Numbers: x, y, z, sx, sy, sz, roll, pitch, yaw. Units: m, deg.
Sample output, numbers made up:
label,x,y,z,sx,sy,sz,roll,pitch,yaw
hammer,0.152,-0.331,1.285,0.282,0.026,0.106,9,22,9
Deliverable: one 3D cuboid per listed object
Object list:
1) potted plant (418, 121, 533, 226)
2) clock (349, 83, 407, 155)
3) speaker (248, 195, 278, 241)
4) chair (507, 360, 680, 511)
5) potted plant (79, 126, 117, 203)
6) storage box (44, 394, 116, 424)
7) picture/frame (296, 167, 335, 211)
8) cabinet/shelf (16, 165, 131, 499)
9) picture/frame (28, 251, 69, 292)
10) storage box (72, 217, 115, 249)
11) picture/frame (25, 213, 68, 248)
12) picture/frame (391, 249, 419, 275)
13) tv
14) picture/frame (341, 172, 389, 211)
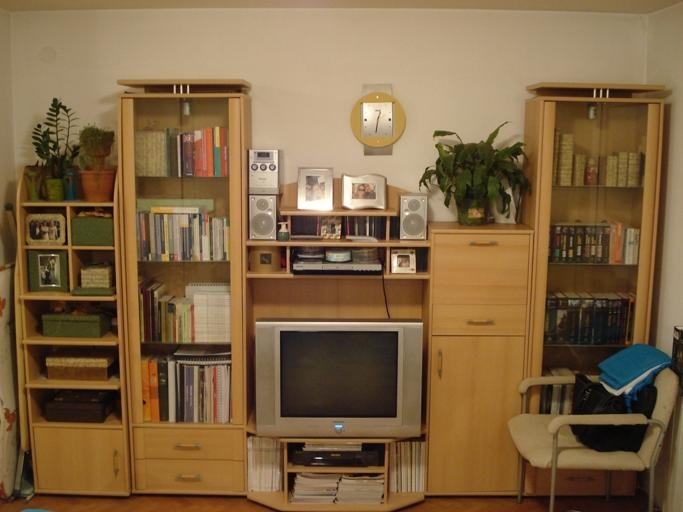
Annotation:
label,x,y,z,sx,sy,sz,roll,pitch,yaw
potted plant,0.879,-0.558,4.942,0.699,0.628,0.675,-3,9,-6
clock,0.256,-0.977,4.955,0.434,0.535,0.071,1,1,-2
speaker,-0.588,-0.256,4.791,0.206,0.310,0.215,-5,8,-31
chair,1.603,1.217,4.895,0.972,1.261,0.930,0,-1,1
potted plant,-1.644,-0.620,4.791,0.246,0.487,0.253,4,12,24
storage box,-1.793,1.017,4.824,0.257,0.109,0.254,2,7,0
picture/frame,-0.179,-0.452,4.811,0.289,0.376,0.031,1,3,0
cabinet/shelf,-1.803,0.529,4.814,0.737,2.026,0.503,-1,5,-29
picture/frame,-1.949,0.085,4.745,0.243,0.295,0.030,0,3,-4
storage box,-1.648,-0.168,4.725,0.302,0.230,0.172,1,2,-1
picture/frame,-1.949,-0.173,4.723,0.201,0.185,0.020,3,2,-3
picture/frame,0.410,0.042,4.818,0.245,0.226,0.135,0,-2,0
tv,-0.017,0.809,4.966,1.160,0.810,0.663,0,5,1
picture/frame,0.152,-0.433,4.846,0.261,0.236,0.028,0,-1,-1
